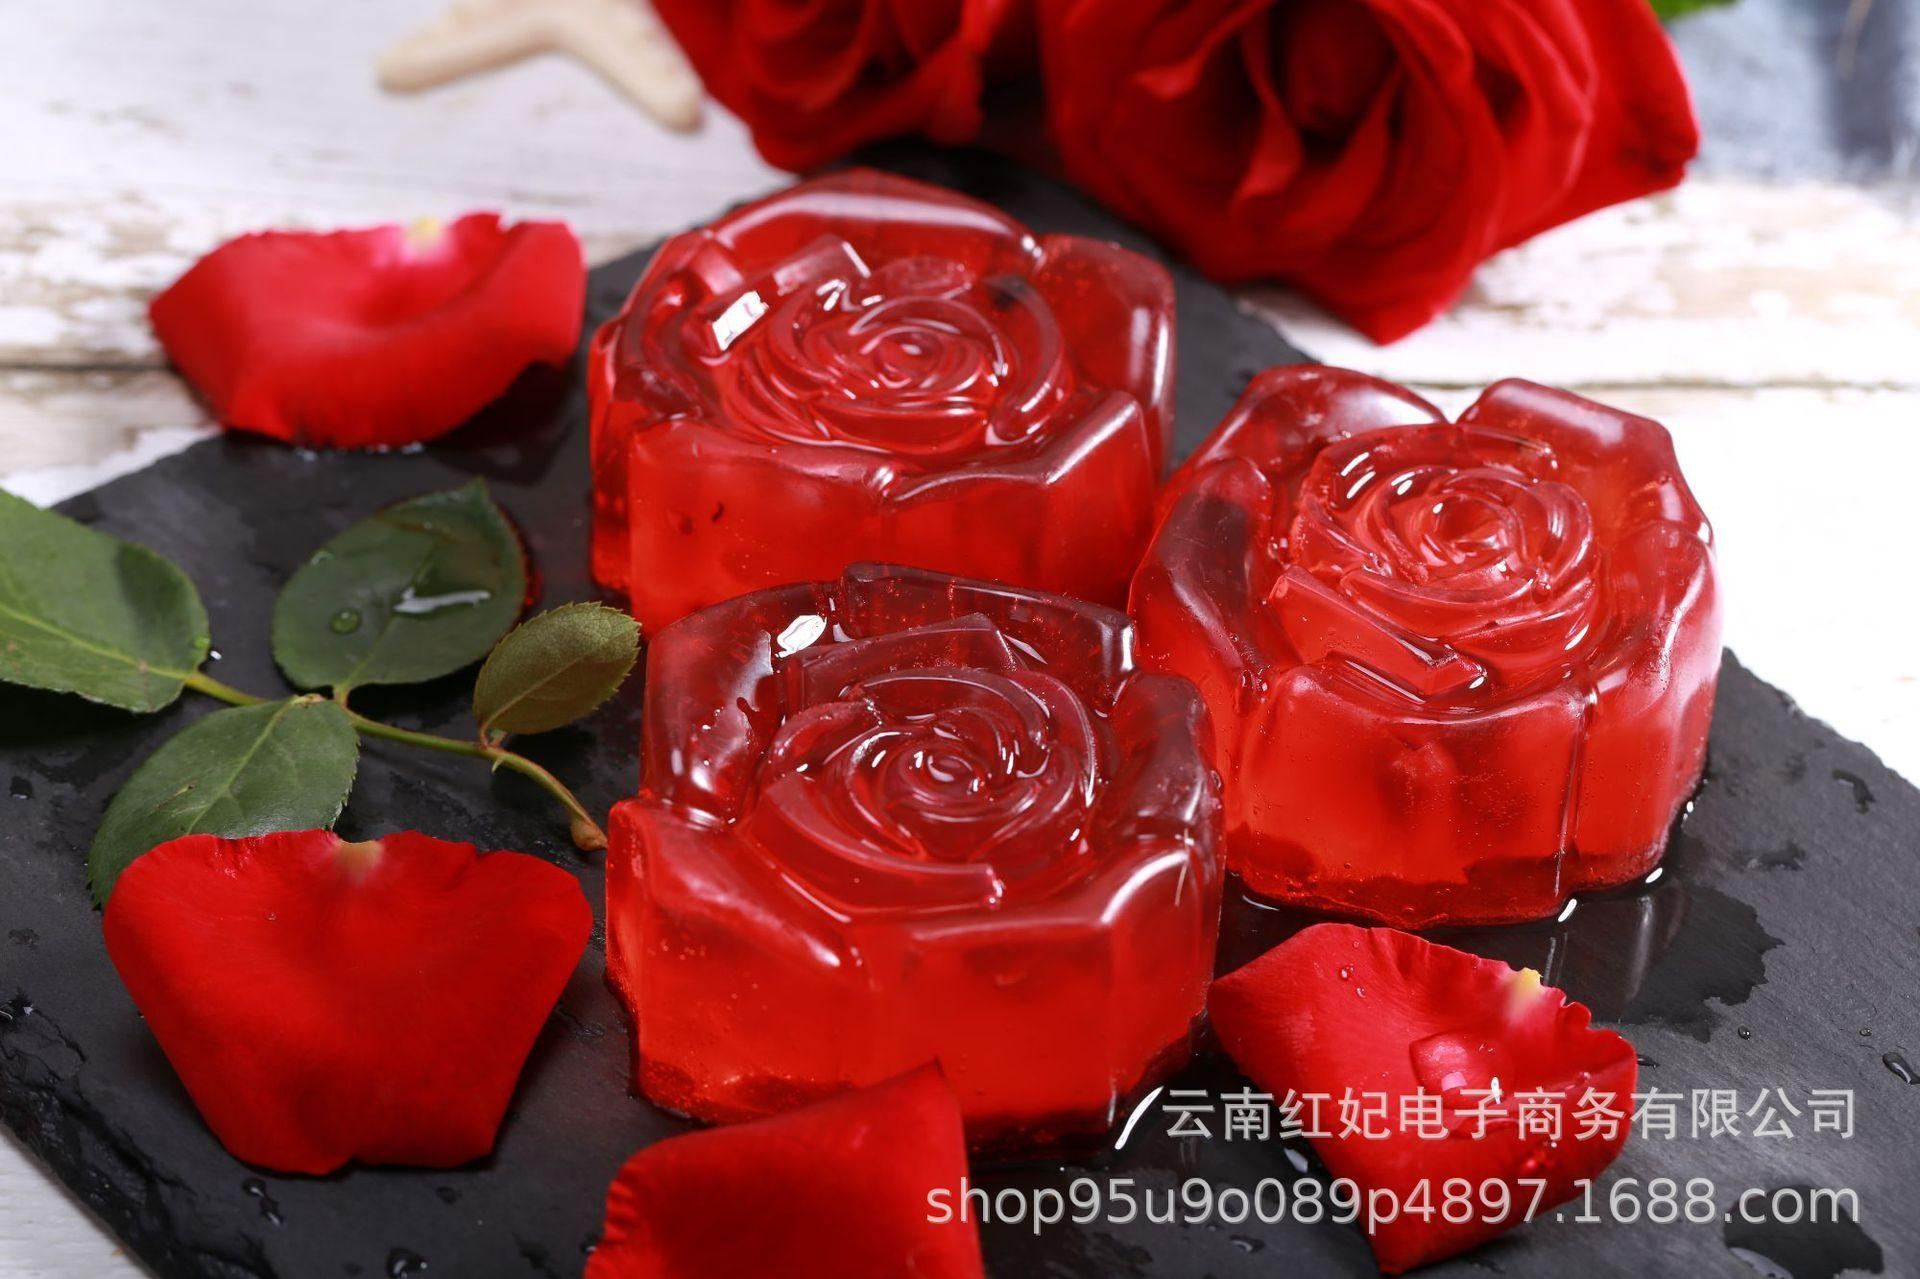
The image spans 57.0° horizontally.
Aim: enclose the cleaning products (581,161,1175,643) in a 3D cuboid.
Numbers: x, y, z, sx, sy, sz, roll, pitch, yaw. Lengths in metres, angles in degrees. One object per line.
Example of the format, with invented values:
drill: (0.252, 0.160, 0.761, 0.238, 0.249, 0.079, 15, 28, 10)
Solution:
cleaning products: (-0.046, -0.161, 1.231, 0.369, 0.158, 0.360, 14, 44, 7)
